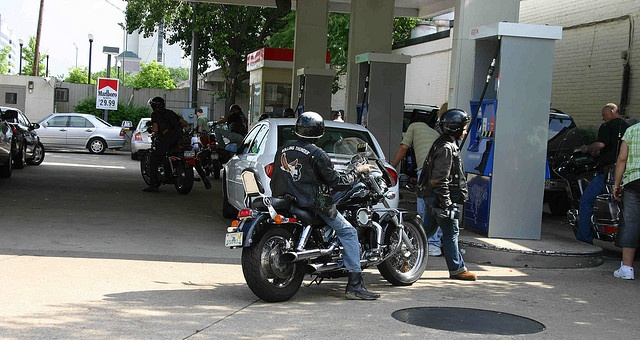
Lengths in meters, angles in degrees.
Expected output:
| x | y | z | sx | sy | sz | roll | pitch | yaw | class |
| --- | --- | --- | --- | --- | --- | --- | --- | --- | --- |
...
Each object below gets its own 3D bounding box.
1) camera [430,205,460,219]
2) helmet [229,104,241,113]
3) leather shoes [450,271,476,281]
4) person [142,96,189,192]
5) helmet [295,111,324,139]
| x | y | z | sx | sy | sz | roll | pitch | yaw | class |
| --- | --- | --- | --- | --- | --- | --- | --- | --- | --- |
| 2.374 | 0.804 | 9.631 | 0.364 | 0.175 | 0.263 | 7 | -4 | 14 | camera |
| -3.228 | -2.414 | 19.493 | 0.333 | 0.378 | 0.351 | -1 | -6 | -36 | helmet |
| 2.796 | 2.095 | 10.086 | 0.578 | 0.224 | 0.184 | -1 | 3 | 2 | leather shoes |
| -5.000 | -0.761 | 16.363 | 1.208 | 3.062 | 0.699 | 0 | 14 | -14 | person |
| -0.185 | -0.795 | 8.880 | 0.469 | 0.359 | 0.469 | 5 | 10 | -2 | helmet |
